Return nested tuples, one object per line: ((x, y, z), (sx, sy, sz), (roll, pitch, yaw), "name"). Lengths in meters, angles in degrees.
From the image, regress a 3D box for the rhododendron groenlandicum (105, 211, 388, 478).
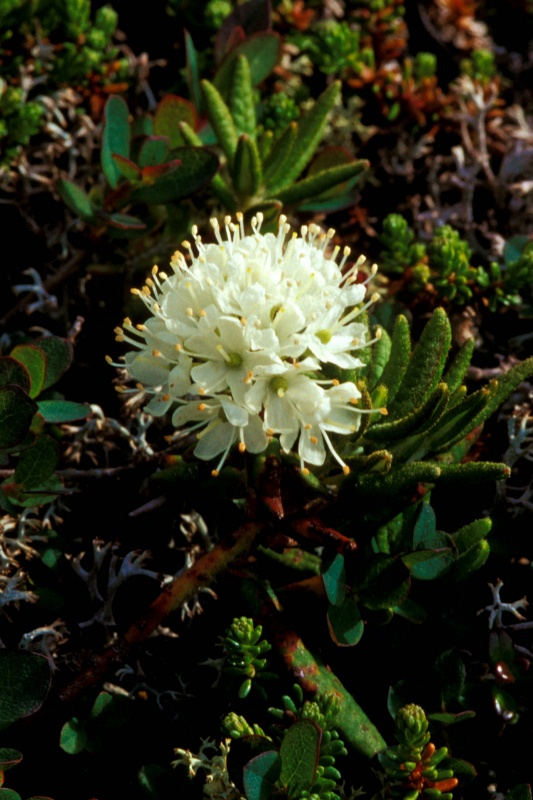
((-0.012, -0.088, 1.602), (0.559, 0.386, 0.476), (-21, 81, -12), "rhododendron groenlandicum")
